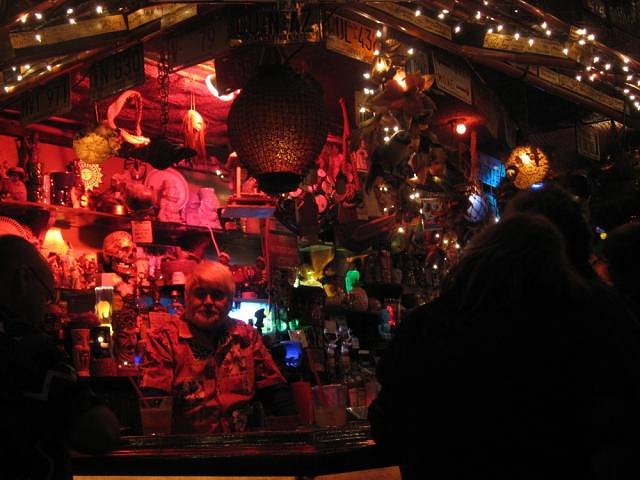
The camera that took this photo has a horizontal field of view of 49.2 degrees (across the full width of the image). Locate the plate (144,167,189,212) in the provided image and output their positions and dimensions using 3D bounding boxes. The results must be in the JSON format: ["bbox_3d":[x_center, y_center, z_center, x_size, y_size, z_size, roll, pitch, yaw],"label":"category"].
[{"bbox_3d":[-1.467,-0.492,6.678,0.220,0.417,0.526,-12,-14,33],"label":"plate"}]

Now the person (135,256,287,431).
[{"bbox_3d":[-0.712,0.652,4.511,0.935,1.123,0.709,2,-13,-28],"label":"person"}]

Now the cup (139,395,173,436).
[{"bbox_3d":[-0.813,0.879,3.511,0.205,0.220,0.165,6,-23,-21],"label":"cup"}]

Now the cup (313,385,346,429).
[{"bbox_3d":[0.054,0.850,3.594,0.173,0.205,0.183,-4,-11,-1],"label":"cup"}]

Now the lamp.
[{"bbox_3d":[-0.267,-0.720,4.079,0.531,0.732,0.494,-2,-1,28],"label":"lamp"}]
